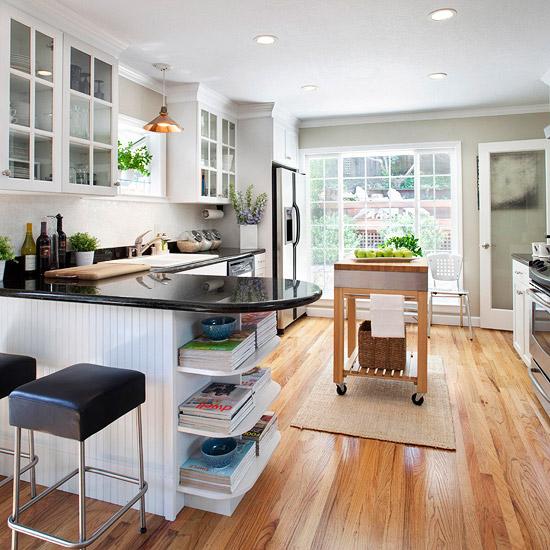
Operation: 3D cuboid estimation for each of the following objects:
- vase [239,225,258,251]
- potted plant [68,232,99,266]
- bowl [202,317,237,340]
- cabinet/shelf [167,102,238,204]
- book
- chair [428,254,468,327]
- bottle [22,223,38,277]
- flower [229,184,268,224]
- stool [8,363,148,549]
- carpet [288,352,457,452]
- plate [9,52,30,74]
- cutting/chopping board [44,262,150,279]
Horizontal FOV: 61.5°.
[{"bbox_3d":[-0.279,-0.409,4.927,0.177,0.258,0.117,-2,9,-10],"label":"vase"},{"bbox_3d":[-1.346,-0.185,3.337,0.215,0.260,0.249,1,2,16],"label":"potted plant"},{"bbox_3d":[-0.248,0.233,2.007,0.142,0.079,0.164,-2,8,-9],"label":"bowl"},{"bbox_3d":[-0.718,-1.151,4.363,0.360,0.956,1.075,1,5,14],"label":"cabinet/shelf"},{"bbox_3d":[-0.222,0.556,2.027,0.317,0.806,0.868,0,3,10],"label":"book"},{"bbox_3d":[1.920,0.177,5.093,0.438,0.802,0.951,2,9,20],"label":"chair"},{"bbox_3d":[-1.527,-0.160,2.845,0.085,0.316,0.267,-5,10,-28],"label":"bottle"},{"bbox_3d":[-0.263,-0.704,4.829,0.413,0.433,0.450,1,5,12],"label":"flower"},{"bbox_3d":[-0.798,0.719,1.799,0.525,0.688,0.480,0,8,6],"label":"stool"},{"bbox_3d":[0.685,0.853,3.112,0.959,0.027,1.091,2,8,17],"label":"carpet"},{"bbox_3d":[-1.363,-1.126,2.462,0.022,0.078,0.088,5,8,28],"label":"plate"},{"bbox_3d":[-1.071,-0.021,2.787,0.445,0.050,0.552,2,8,21],"label":"cutting/chopping board"}]
